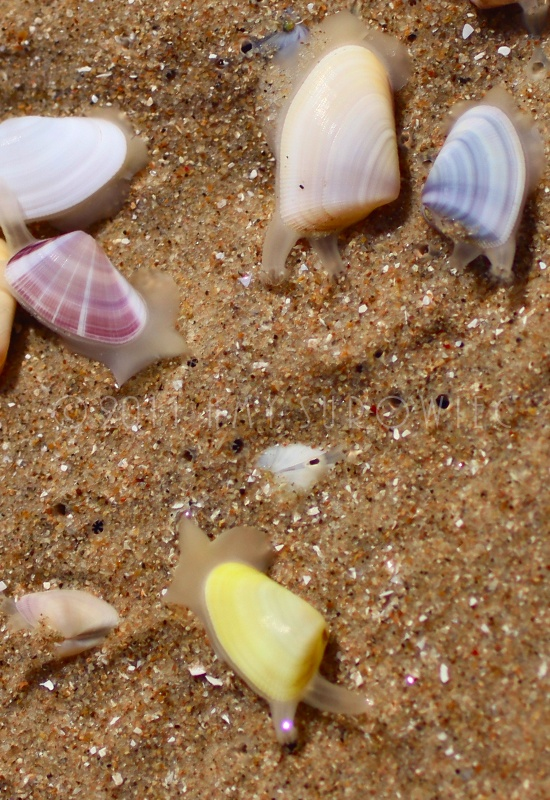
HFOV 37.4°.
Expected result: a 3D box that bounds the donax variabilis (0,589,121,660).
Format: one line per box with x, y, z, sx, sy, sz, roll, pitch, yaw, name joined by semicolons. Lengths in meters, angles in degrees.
-0.688;0.745;2.722;0.335;0.143;0.187;-10;48;-1;donax variabilis
